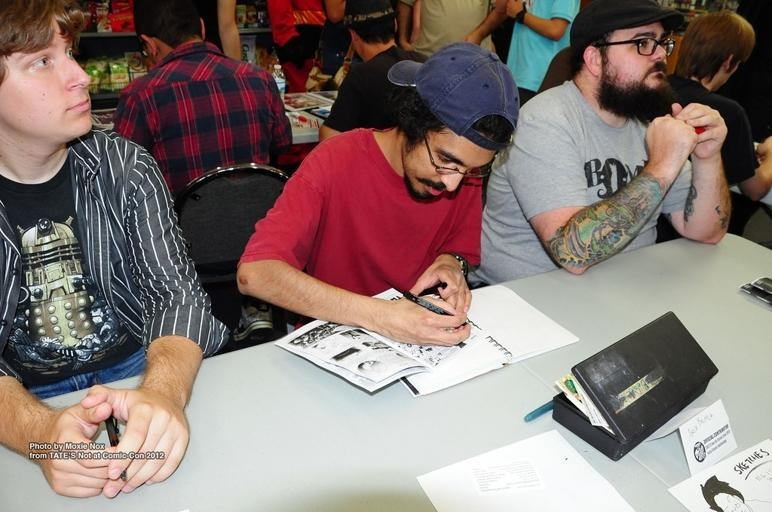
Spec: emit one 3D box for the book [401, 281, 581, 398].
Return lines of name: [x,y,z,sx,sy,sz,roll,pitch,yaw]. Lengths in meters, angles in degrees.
book: [0.366,0.258,1.649,0.406,0.032,0.279,-17,35,-27]

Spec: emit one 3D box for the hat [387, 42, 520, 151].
hat: [0.206,-0.553,1.670,0.259,0.222,0.409,-21,58,-43]
